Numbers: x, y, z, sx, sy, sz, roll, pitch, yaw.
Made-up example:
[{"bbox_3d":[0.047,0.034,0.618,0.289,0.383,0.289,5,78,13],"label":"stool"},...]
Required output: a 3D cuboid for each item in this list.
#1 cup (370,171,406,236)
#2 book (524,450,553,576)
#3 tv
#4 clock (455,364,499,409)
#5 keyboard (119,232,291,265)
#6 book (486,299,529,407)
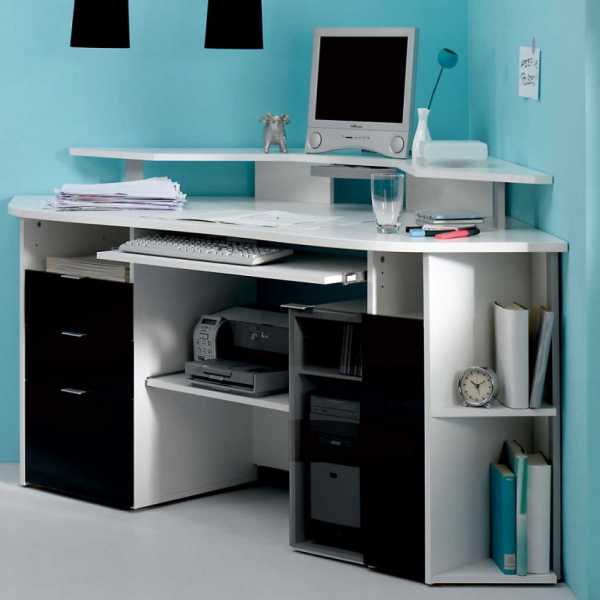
[{"bbox_3d":[0.220,-0.244,1.760,0.132,0.145,0.131,-3,7,0],"label":"cup"},{"bbox_3d":[0.616,0.575,1.715,0.088,0.260,0.273,-3,-32,23],"label":"book"},{"bbox_3d":[0.201,-0.683,2.257,0.397,0.405,0.033,13,20,33],"label":"tv"},{"bbox_3d":[0.418,0.210,1.633,0.087,0.091,0.050,5,-8,-9],"label":"clock"},{"bbox_3d":[-0.269,-0.141,1.933,0.485,0.091,0.225,1,3,34],"label":"keyboard"},{"bbox_3d":[0.510,0.131,1.642,0.083,0.245,0.138,0,2,16],"label":"book"}]
